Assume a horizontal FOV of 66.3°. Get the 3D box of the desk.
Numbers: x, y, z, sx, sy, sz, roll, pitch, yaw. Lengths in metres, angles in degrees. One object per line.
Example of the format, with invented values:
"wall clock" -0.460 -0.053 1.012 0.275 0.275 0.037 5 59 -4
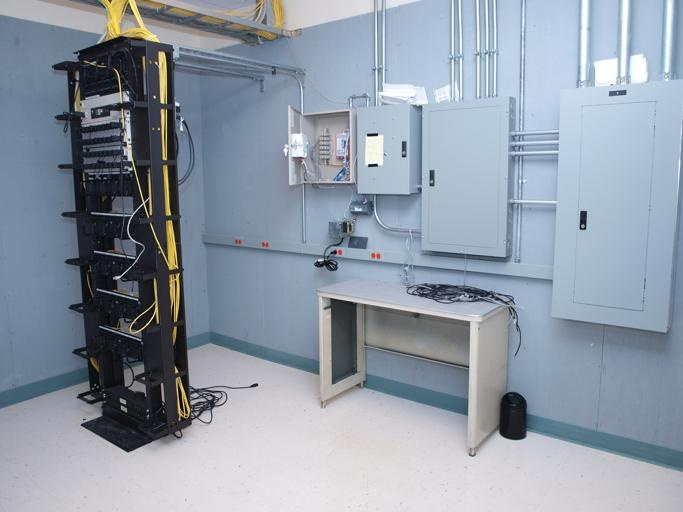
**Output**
"desk" 0.549 0.805 4.119 1.349 1.036 0.671 6 10 35
